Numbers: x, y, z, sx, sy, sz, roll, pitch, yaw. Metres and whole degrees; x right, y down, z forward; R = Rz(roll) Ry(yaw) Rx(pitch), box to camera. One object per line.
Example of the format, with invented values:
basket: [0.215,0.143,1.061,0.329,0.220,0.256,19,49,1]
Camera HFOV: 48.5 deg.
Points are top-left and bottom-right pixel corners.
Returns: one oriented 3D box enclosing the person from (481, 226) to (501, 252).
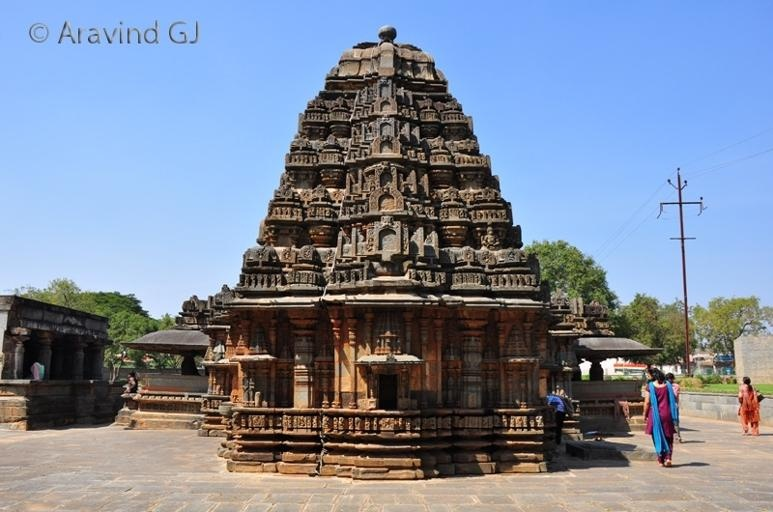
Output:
person: [3.681,-0.631,30.041,0.641,1.032,0.596,1,-14,-6]

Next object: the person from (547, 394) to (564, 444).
person: [6.202,5.857,31.162,0.629,1.775,1.005,-4,-14,11]

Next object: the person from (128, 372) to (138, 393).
person: [-11.482,5.696,38.995,0.417,0.985,1.253,3,-13,-15]
